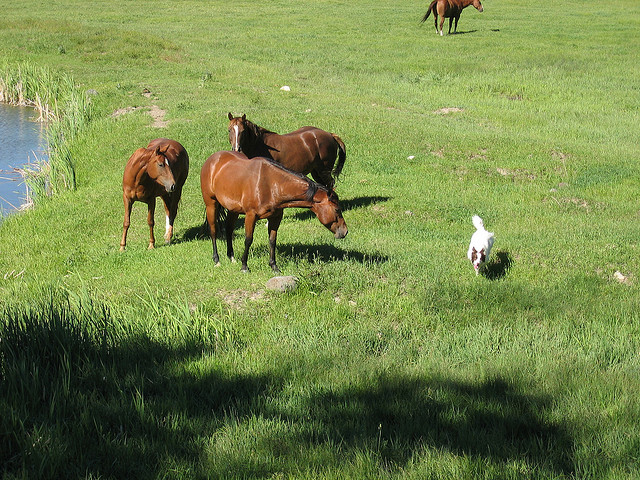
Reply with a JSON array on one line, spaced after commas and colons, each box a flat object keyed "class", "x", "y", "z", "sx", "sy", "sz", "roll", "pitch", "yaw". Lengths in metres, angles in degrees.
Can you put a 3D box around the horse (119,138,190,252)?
[{"class": "horse", "x": -5.867, "y": -1.490, "z": 27.593, "sx": 1.192, "sy": 3.560, "sz": 4.615, "roll": -5, "pitch": 12, "yaw": -30}]
